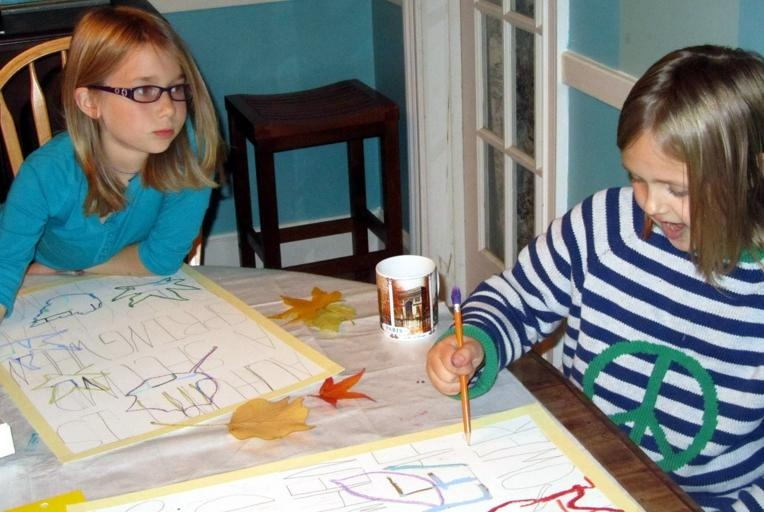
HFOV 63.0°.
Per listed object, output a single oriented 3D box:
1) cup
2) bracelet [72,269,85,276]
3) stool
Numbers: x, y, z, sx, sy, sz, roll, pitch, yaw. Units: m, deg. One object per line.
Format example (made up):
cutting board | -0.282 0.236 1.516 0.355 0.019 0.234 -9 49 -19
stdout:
cup | 0.052 0.075 1.277 0.121 0.137 0.158 12 30 39
bracelet | -0.716 0.036 1.460 0.018 0.014 0.017 3 22 -1
stool | -0.300 -0.306 2.659 0.669 0.822 0.523 -8 17 -14
